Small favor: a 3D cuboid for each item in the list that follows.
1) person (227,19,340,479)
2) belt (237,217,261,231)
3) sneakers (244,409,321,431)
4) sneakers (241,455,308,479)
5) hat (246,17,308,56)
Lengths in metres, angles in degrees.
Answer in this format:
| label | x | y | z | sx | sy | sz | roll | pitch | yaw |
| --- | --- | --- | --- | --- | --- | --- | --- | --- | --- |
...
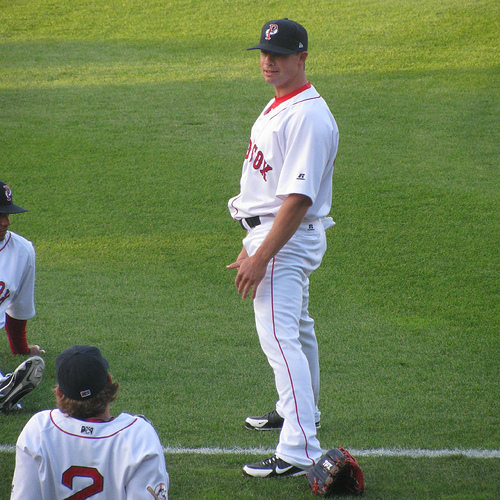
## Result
| label | x | y | z | sx | sy | sz | roll | pitch | yaw |
| --- | --- | --- | --- | --- | --- | --- | --- | --- | --- |
| person | 0.225 | -0.013 | 10.808 | 0.795 | 3.334 | 0.894 | 1 | 11 | -1 |
| belt | -0.001 | -0.210 | 10.994 | 0.100 | 0.068 | 0.127 | -39 | 20 | -32 |
| sneakers | 0.244 | 1.342 | 11.367 | 0.609 | 0.279 | 0.218 | 3 | -2 | 2 |
| sneakers | 0.171 | 1.602 | 10.814 | 0.514 | 0.239 | 0.179 | 3 | -4 | 1 |
| hat | 0.222 | -1.641 | 10.939 | 0.358 | 0.311 | 0.552 | 5 | 12 | 25 |
